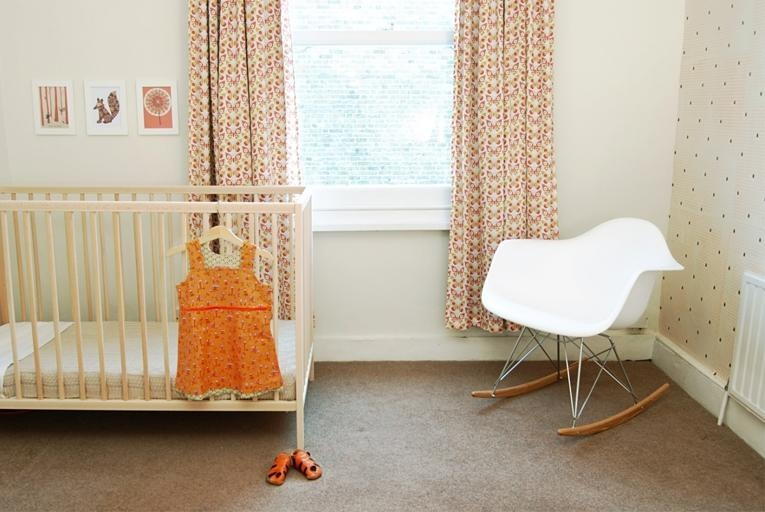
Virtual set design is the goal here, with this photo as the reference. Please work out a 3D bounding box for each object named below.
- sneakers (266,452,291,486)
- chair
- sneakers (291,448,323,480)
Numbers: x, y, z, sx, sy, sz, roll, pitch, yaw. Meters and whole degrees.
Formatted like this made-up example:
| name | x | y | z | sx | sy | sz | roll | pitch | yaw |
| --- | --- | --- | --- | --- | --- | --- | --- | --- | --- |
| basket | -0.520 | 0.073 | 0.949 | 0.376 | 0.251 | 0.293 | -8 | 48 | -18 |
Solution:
| name | x | y | z | sx | sy | sz | roll | pitch | yaw |
| --- | --- | --- | --- | --- | --- | --- | --- | --- | --- |
| sneakers | -0.495 | 1.028 | 2.982 | 0.057 | 0.072 | 0.175 | 4 | 2 | -3 |
| chair | 1.055 | 0.353 | 3.322 | 1.021 | 0.969 | 0.988 | -6 | 10 | -34 |
| sneakers | -0.365 | 1.000 | 3.040 | 0.084 | 0.070 | 0.170 | -18 | 26 | -40 |
